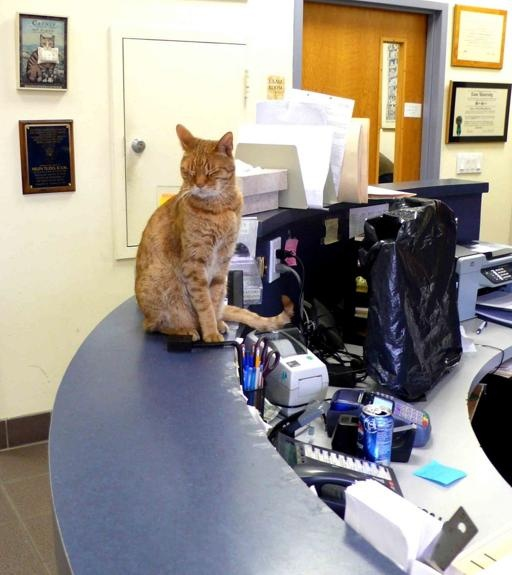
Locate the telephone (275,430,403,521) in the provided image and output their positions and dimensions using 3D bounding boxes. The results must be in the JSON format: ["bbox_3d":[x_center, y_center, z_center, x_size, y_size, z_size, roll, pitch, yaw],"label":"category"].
[{"bbox_3d":[0.128,0.300,0.794,0.205,0.076,0.189,3,11,2],"label":"telephone"}]

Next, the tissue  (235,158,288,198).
[{"bbox_3d":[0.012,-0.306,1.373,0.146,0.043,0.180,-3,-27,6],"label":"tissue "}]

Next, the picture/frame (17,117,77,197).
[{"bbox_3d":[-0.910,-0.576,2.203,0.262,0.415,0.037,-7,15,-28],"label":"picture/frame"}]

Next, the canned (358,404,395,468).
[{"bbox_3d":[0.228,0.286,0.976,0.056,0.116,0.061,7,18,25],"label":"canned"}]
